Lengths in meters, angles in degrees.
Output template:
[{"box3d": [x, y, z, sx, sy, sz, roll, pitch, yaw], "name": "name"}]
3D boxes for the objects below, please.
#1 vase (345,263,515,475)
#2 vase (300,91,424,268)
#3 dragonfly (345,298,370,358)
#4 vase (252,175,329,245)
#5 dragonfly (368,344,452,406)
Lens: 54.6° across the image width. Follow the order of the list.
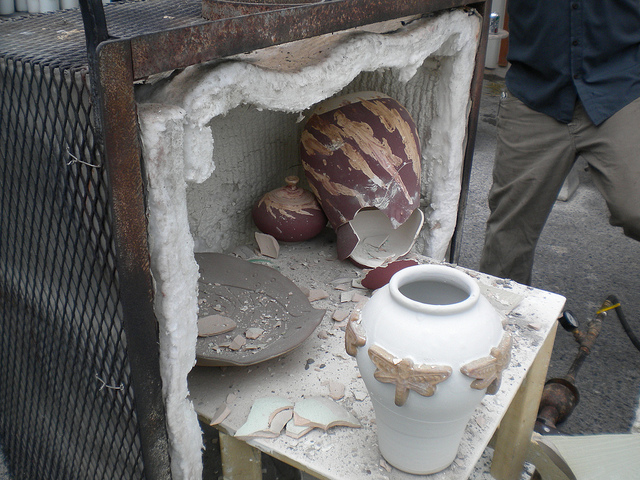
[{"box3d": [0.227, 0.234, 1.390, 0.340, 0.490, 0.398, 6, 29, 13], "name": "vase"}, {"box3d": [0.123, -0.167, 1.846, 0.369, 0.436, 0.329, 19, 42, 30], "name": "vase"}, {"box3d": [0.087, 0.176, 1.231, 0.034, 0.099, 0.065, 16, -3, -37], "name": "dragonfly"}, {"box3d": [-0.094, -0.089, 1.905, 0.185, 0.163, 0.200, 21, 36, 22], "name": "vase"}, {"box3d": [0.162, 0.258, 1.151, 0.156, 0.085, 0.050, 8, 37, 16], "name": "dragonfly"}]
